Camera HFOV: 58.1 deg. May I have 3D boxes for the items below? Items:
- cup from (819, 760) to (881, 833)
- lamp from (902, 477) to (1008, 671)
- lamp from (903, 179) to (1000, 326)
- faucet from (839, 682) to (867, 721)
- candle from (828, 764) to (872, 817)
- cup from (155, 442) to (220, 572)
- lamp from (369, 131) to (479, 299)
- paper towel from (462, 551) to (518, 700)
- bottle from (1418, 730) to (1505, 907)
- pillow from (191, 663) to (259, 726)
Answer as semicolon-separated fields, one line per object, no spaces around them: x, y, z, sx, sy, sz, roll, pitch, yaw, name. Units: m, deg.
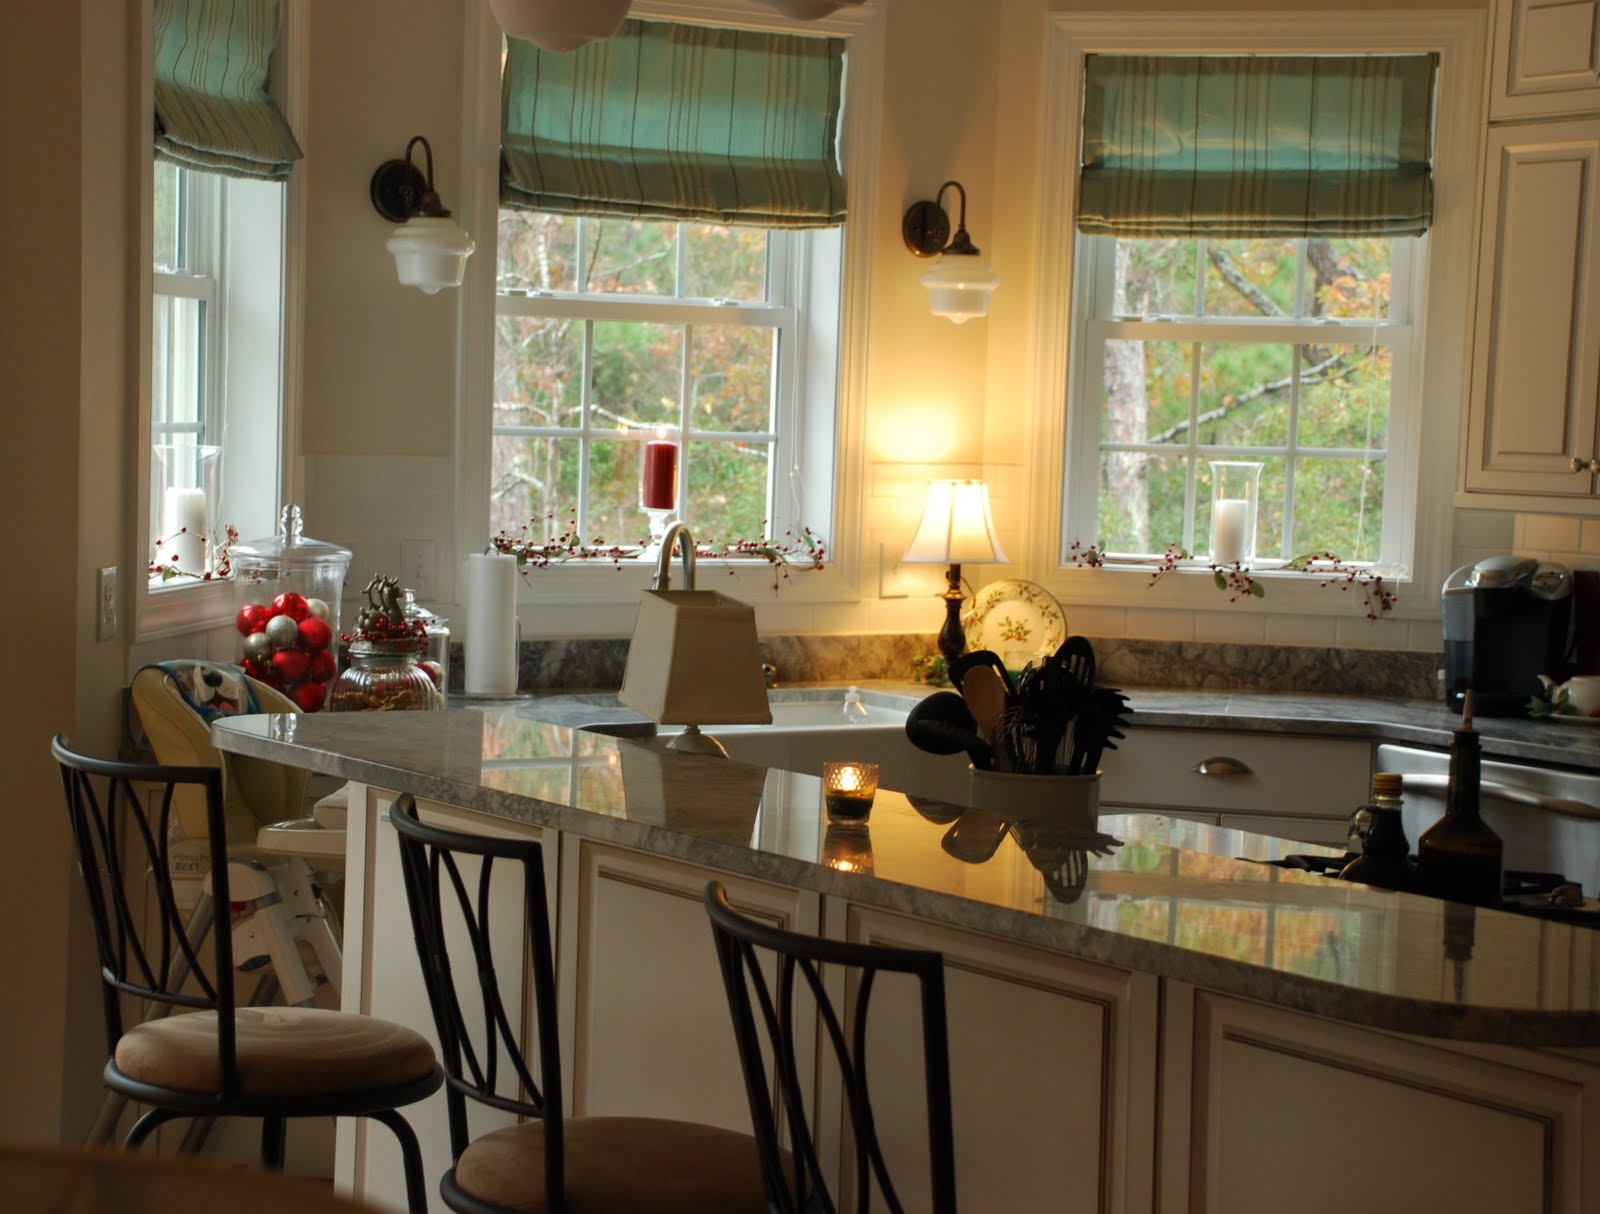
0.068;0.269;1.987;0.071;0.070;0.069;0;-2;0;cup
0.469;-0.118;4.442;0.302;0.533;0.282;0;7;6;lamp
0.454;-1.078;4.375;0.283;0.435;0.299;-1;7;0;lamp
0.155;0.281;4.251;0.070;0.140;0.070;2;-13;-1;faucet
0.073;0.248;1.948;0.057;0.060;0.064;2;-3;-28;candle
-1.517;-0.166;3.517;0.110;0.229;0.123;-5;-8;12;cup
-1.002;-1.044;3.833;0.220;0.423;0.209;5;7;28;lamp
-0.853;0.048;3.929;0.145;0.382;0.206;-3;7;-15;paper towel
0.866;0.263;1.901;0.101;0.213;0.120;1;8;15;bottle
-1.303;0.194;3.216;0.132;0.169;0.052;12;-40;-45;pillow
